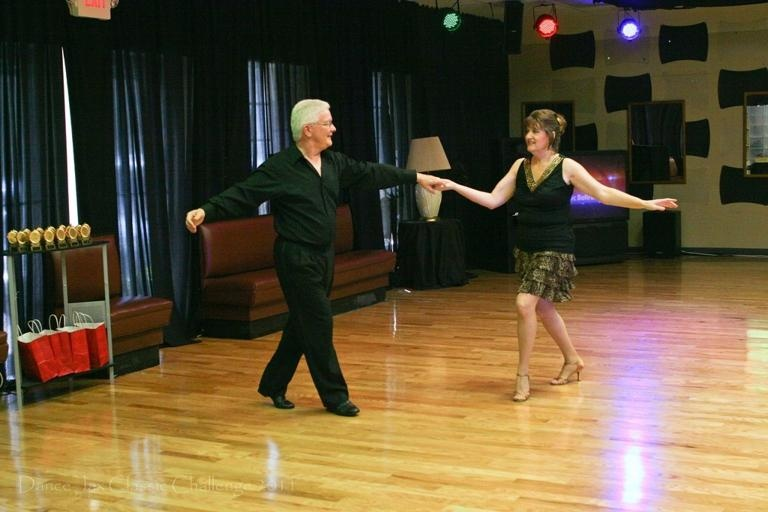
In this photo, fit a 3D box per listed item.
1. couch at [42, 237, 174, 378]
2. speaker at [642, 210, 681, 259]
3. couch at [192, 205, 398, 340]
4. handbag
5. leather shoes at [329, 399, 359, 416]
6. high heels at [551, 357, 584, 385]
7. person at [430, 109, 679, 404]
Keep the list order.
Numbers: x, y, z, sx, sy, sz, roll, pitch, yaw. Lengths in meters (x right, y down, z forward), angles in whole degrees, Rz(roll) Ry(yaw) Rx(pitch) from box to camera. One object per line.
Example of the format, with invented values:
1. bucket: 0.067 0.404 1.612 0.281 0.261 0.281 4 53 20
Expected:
1. couch: -2.430 0.434 5.913 0.655 1.099 0.809 -3 3 15
2. speaker: 4.451 -0.370 10.675 0.718 1.030 0.518 2 6 34
3. couch: -0.953 0.115 7.595 0.764 1.168 2.378 8 13 37
4. handbag: -2.532 0.747 5.322 0.279 0.478 0.537 -18 -7 34
5. leather shoes: -0.293 1.061 4.753 0.203 0.080 0.100 -2 -1 28
6. high heels: 1.387 0.900 5.239 0.367 0.203 0.128 1 -3 -30
7. person: 1.180 -0.018 4.943 1.207 2.097 0.455 -1 9 6
